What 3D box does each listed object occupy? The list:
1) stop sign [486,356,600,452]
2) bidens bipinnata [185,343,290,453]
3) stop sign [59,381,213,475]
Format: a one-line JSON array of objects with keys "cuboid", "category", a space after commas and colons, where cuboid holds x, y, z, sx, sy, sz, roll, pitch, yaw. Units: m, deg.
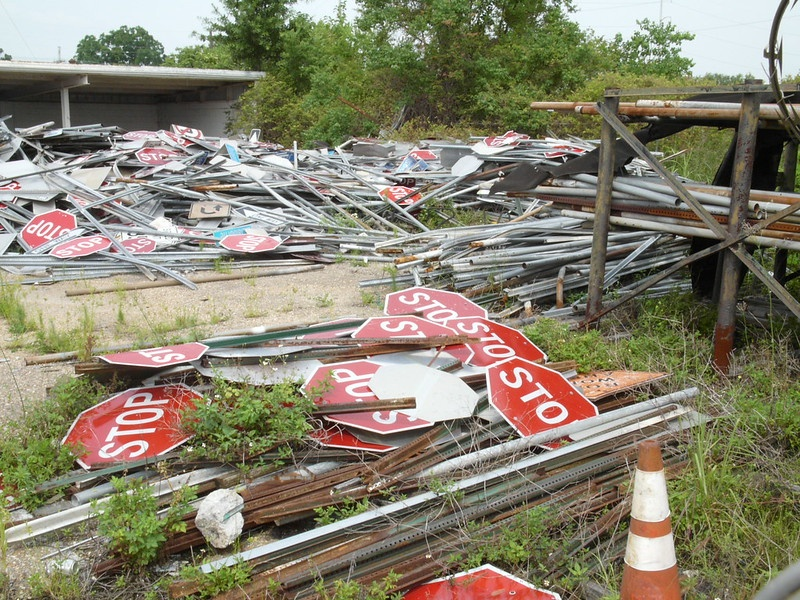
[{"cuboid": [1.147, 0.913, 6.169, 0.653, 0.011, 0.878, -16, 31, -25], "category": "stop sign"}, {"cuboid": [-1.293, 0.938, 5.832, 1.018, 0.619, 0.694, -5, 11, -15], "category": "bidens bipinnata"}, {"cuboid": [-2.239, 1.038, 5.792, 0.714, 0.004, 0.746, -15, 33, -27], "category": "stop sign"}]
